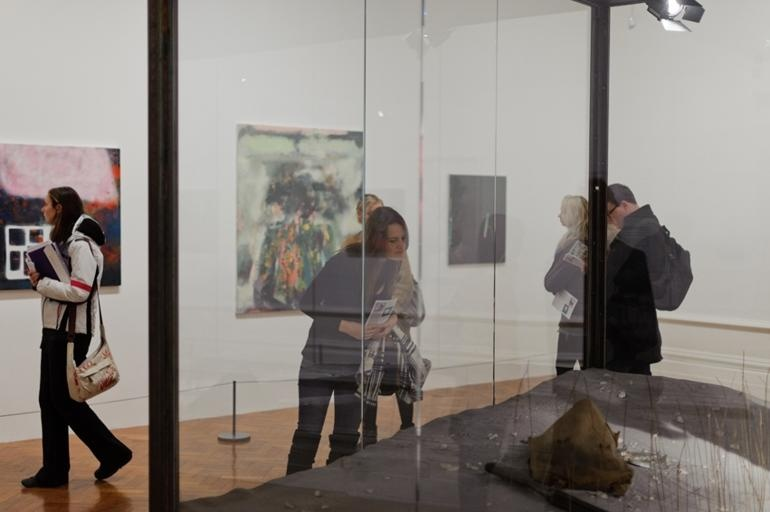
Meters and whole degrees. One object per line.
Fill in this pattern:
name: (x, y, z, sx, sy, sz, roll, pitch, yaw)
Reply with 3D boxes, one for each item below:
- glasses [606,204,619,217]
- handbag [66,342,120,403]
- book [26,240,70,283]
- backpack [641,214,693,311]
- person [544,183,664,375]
glasses: (0.900, -0.181, 2.667, 0.025, 0.045, 0.032, 10, 3, 6)
handbag: (-1.636, 0.593, 3.739, 0.134, 0.397, 0.299, 3, 16, 23)
book: (-1.894, 0.032, 3.789, 0.263, 0.219, 0.075, 3, 6, 18)
backpack: (1.158, 0.027, 2.718, 0.173, 0.347, 0.267, 1, 13, 22)
person: (0.979, 0.091, 2.649, 0.222, 0.745, 0.077, 1, 6, 10)
